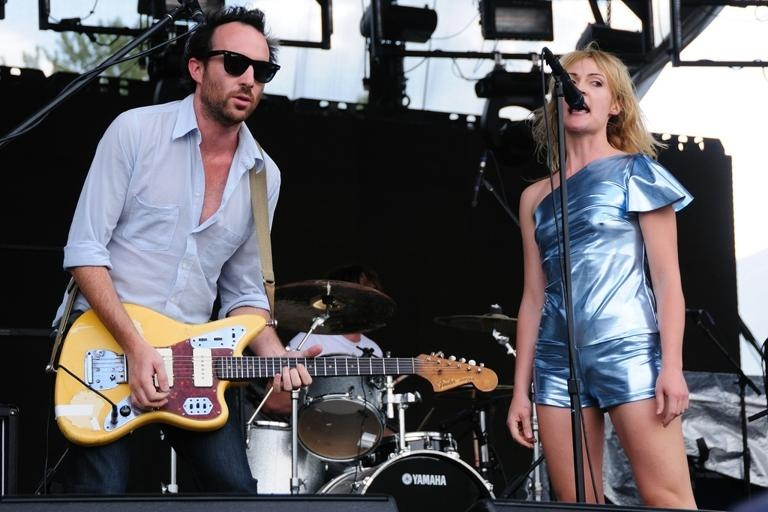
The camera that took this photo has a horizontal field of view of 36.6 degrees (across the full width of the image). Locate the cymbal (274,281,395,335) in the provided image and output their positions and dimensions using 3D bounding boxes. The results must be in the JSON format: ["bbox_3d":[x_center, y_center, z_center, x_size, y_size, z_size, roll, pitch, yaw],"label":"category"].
[{"bbox_3d":[-0.383,0.331,8.113,0.732,0.165,0.697,7,-19,-16],"label":"cymbal"}]

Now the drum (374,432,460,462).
[{"bbox_3d":[0.232,1.240,7.743,0.590,0.195,0.664,0,-4,-1],"label":"drum"}]

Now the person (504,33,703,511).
[{"bbox_3d":[1.271,0.040,6.668,1.060,2.640,0.962,0,-1,-4],"label":"person"}]

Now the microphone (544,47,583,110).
[{"bbox_3d":[0.985,-0.968,6.362,0.273,0.342,0.173,5,17,5],"label":"microphone"}]
